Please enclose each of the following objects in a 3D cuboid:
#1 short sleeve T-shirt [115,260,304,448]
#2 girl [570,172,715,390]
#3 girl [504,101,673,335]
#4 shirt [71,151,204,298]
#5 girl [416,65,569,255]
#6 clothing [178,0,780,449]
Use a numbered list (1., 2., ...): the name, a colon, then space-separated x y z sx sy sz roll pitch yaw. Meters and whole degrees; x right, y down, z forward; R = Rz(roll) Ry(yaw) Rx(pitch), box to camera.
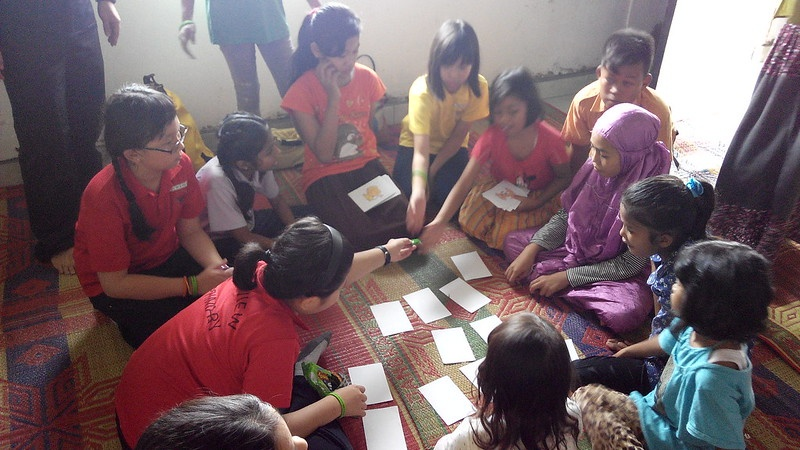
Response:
1. short sleeve T-shirt: -1.235 0.864 3.329 0.903 0.589 0.943 -45 43 3
2. girl: 1.817 0.459 3.784 1.169 1.492 1.055 0 34 21
3. girl: 1.646 -0.200 4.459 1.207 1.670 1.536 -29 33 -26
4. shirt: -2.036 0.034 4.024 0.551 0.847 0.891 33 47 16
5. girl: 0.769 -0.603 4.717 1.668 1.522 0.949 -17 31 -15
6. clothing: 0.230 -0.155 3.578 3.412 0.779 2.907 -14 39 -7
